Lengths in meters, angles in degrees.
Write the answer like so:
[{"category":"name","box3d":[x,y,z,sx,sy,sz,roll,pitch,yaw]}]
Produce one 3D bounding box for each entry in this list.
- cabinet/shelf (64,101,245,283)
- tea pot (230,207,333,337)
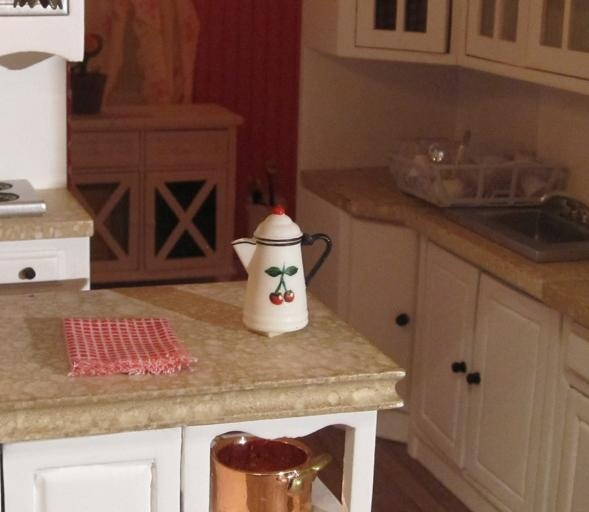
[{"category":"cabinet/shelf","box3d":[-0.617,-0.305,2.721,0.682,0.708,0.304,-2,12,-12]},{"category":"tea pot","box3d":[-0.073,0.028,1.237,0.229,0.276,0.164,-1,10,-17]}]
